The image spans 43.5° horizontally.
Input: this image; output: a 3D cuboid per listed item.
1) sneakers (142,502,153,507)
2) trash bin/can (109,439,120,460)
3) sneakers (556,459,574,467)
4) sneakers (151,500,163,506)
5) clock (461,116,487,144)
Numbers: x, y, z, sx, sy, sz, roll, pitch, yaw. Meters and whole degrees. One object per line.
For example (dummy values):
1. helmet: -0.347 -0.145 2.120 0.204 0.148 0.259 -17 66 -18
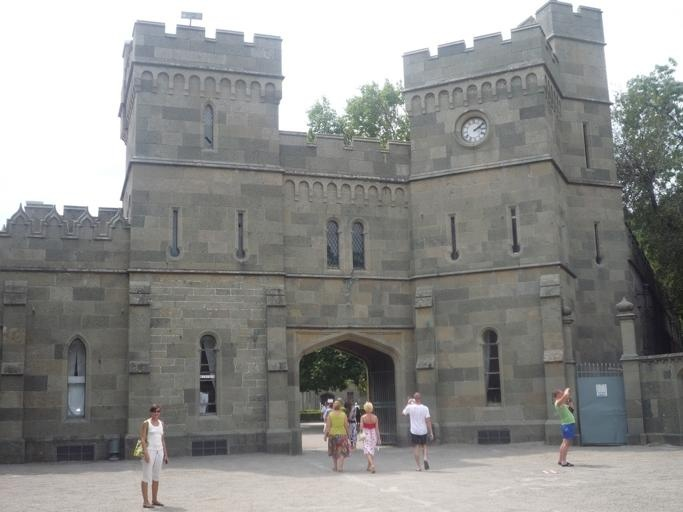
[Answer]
1. sneakers: -4.632 5.822 19.980 0.217 0.119 0.214 1 -14 -13
2. trash bin/can: -8.039 6.624 29.498 0.391 0.680 0.222 1 -14 -14
3. sneakers: 6.586 5.993 24.817 0.342 0.138 0.179 0 -4 -10
4. sneakers: -4.429 5.817 20.154 0.244 0.145 0.330 -8 -15 22
5. clock: 5.169 -4.836 32.959 0.859 0.750 0.063 41 8 35
